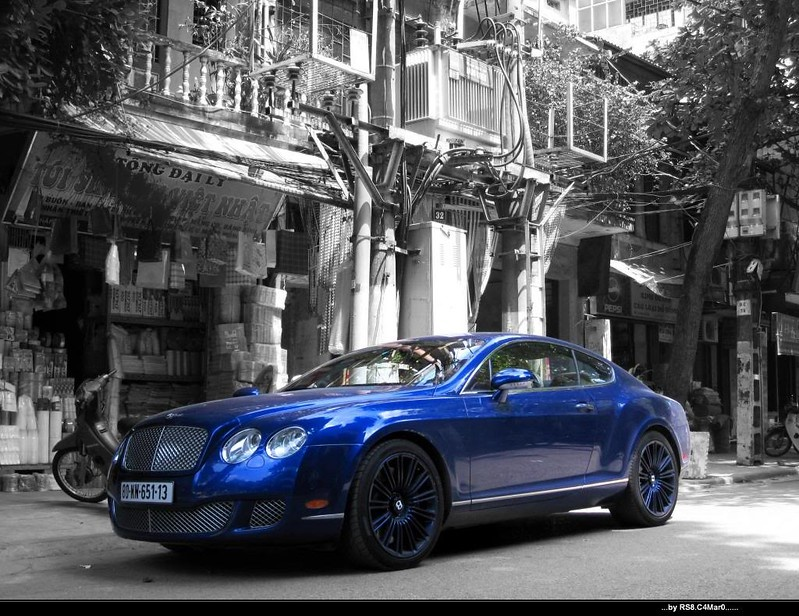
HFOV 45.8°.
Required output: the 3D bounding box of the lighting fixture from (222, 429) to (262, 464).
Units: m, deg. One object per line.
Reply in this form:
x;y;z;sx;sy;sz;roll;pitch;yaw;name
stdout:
-1.175;1.029;7.004;0.276;0.252;0.087;3;-5;-11;lighting fixture
